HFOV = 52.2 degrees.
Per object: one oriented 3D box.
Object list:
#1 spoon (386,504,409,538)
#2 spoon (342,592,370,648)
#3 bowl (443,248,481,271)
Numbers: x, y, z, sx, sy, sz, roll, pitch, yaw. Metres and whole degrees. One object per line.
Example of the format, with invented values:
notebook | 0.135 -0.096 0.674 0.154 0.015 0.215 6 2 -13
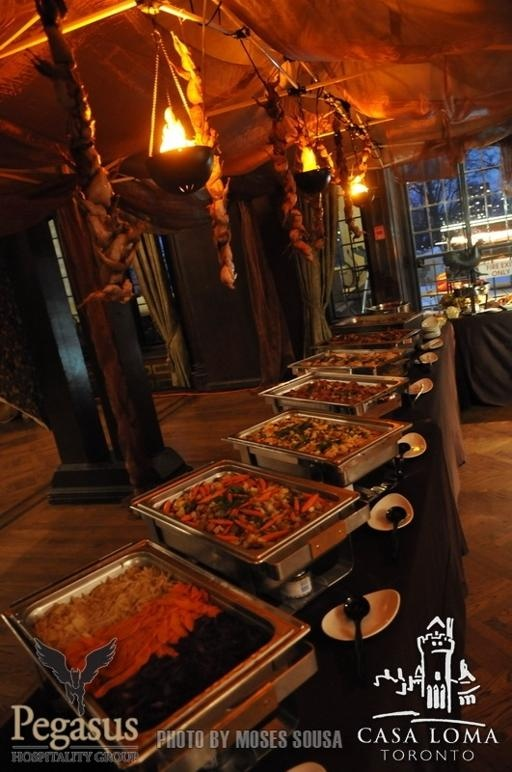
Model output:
spoon | 0.410 0.396 1.510 0.047 0.021 0.131 -1 12 15
spoon | 0.216 0.511 1.124 0.042 0.018 0.128 -9 15 15
bowl | 2.166 -1.310 5.417 0.317 0.225 0.439 -7 14 35
